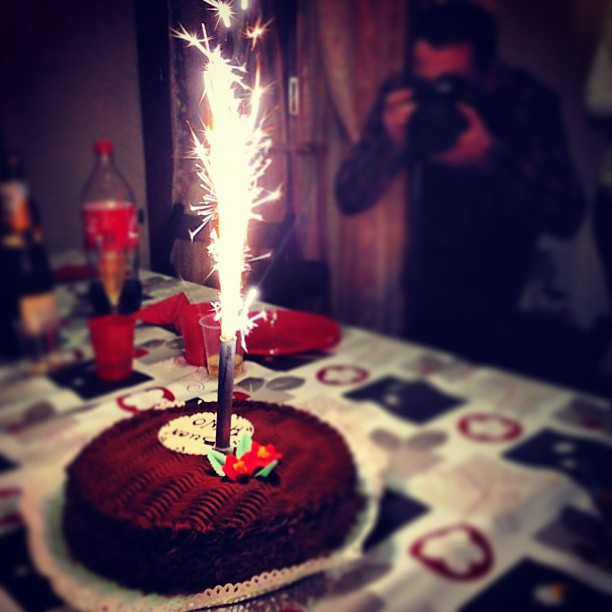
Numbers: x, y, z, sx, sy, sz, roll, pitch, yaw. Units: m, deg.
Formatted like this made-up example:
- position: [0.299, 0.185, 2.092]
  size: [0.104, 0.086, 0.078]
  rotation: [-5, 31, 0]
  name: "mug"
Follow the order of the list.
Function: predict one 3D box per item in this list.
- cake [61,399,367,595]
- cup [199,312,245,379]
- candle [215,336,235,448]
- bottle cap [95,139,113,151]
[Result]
- position: [-0.170, 0.347, 1.258]
  size: [0.592, 0.214, 0.422]
  rotation: [-3, 11, -13]
  name: "cake"
- position: [-0.149, 0.073, 1.369]
  size: [0.126, 0.143, 0.133]
  rotation: [1, 12, 0]
  name: "cup"
- position: [-0.152, 0.173, 1.201]
  size: [0.039, 0.218, 0.040]
  rotation: [3, 4, 20]
  name: "candle"
- position: [-0.575, -0.457, 1.818]
  size: [0.039, 0.025, 0.040]
  rotation: [8, 11, 21]
  name: "bottle cap"
